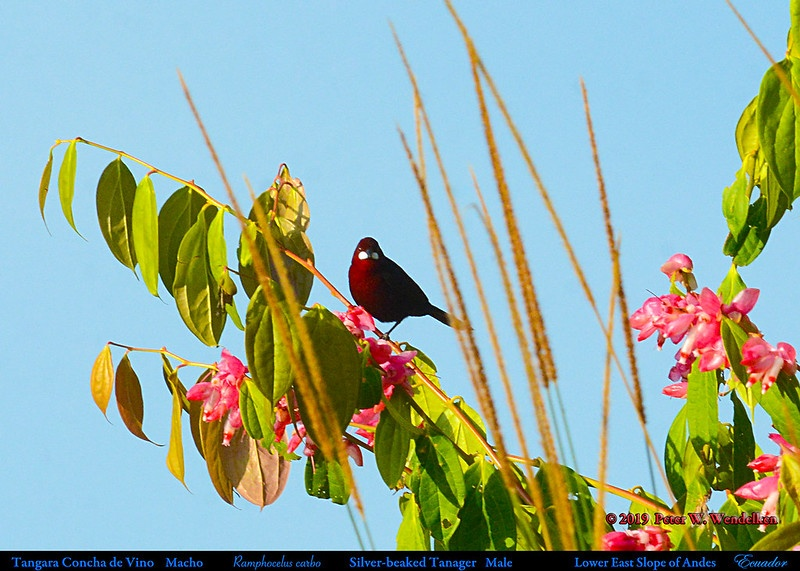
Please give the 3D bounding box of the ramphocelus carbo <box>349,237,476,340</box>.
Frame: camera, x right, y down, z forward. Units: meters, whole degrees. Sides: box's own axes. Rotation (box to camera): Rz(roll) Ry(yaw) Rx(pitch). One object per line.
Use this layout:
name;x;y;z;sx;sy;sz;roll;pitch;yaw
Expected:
ramphocelus carbo;0.039;0.002;4.067;0.407;0.299;0.204;-2;2;-39
